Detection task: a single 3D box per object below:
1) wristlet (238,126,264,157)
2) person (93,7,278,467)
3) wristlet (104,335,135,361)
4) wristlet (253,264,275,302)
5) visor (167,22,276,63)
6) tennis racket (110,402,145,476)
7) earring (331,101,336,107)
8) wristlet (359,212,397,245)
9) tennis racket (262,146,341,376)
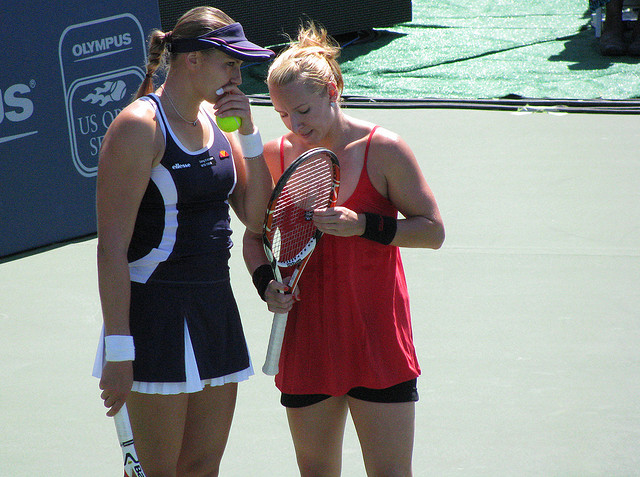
[{"bbox_3d":[-0.375,-0.499,4.405,0.140,0.163,0.148,-19,2,-14],"label":"wristlet"},{"bbox_3d":[-0.729,0.042,4.273,1.006,2.429,0.394,-8,12,-25],"label":"person"},{"bbox_3d":[-0.991,0.552,4.044,0.123,0.105,0.125,3,-9,-23],"label":"wristlet"},{"bbox_3d":[-0.312,0.242,4.436,0.051,0.135,0.181,-14,54,-10],"label":"wristlet"},{"bbox_3d":[-0.512,-1.011,4.223,0.540,0.206,0.238,-6,11,-11],"label":"visor"},{"bbox_3d":[-0.993,1.036,4.184,0.143,0.446,0.135,-8,12,-24],"label":"tennis racket"},{"bbox_3d":[0.070,-0.714,4.344,0.004,0.024,0.037,4,13,32],"label":"earring"},{"bbox_3d":[0.312,-0.050,4.260,0.143,0.149,0.171,1,-3,-14],"label":"wristlet"},{"bbox_3d":[-0.166,0.157,4.425,0.405,1.256,0.101,18,3,44],"label":"tennis racket"}]
